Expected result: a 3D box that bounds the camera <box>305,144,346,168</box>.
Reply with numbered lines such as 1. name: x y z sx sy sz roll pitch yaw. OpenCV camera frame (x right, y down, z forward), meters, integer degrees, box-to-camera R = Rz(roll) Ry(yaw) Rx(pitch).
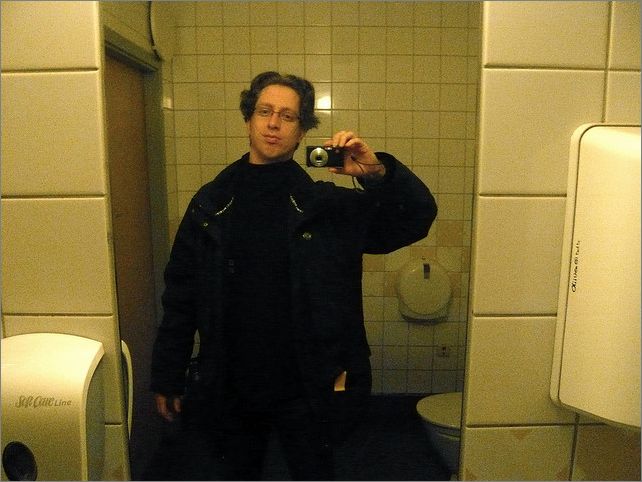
1. camera: 0.008 -0.202 1.467 0.092 0.059 0.050 1 14 1
